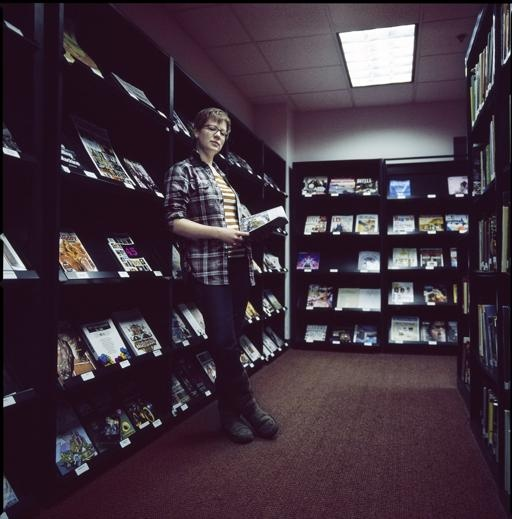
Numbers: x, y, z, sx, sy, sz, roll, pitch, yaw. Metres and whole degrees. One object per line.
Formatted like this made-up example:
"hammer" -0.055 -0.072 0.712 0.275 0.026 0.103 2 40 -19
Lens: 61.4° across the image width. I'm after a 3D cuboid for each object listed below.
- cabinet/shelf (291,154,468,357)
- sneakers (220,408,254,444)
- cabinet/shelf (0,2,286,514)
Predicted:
"cabinet/shelf" 1.406 -0.020 4.701 1.631 2.087 0.547 1 -4 -1
"sneakers" -0.105 0.843 2.234 0.086 0.196 0.264 -8 -7 -27
"cabinet/shelf" -0.542 -0.151 2.503 0.536 2.157 2.211 0 -1 24
